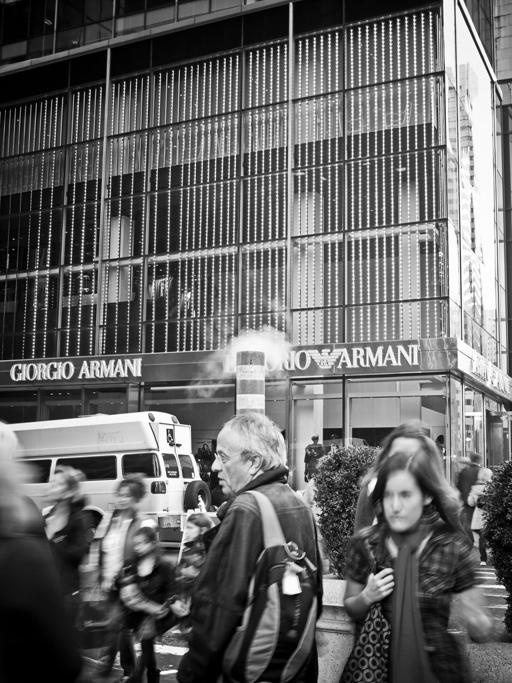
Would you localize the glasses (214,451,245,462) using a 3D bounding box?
[{"bbox_3d":[-0.085,0.420,3.248,0.054,0.028,0.074,0,-1,41],"label":"glasses"}]

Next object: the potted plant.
[{"bbox_3d":[0.792,1.357,7.667,0.681,1.351,0.826,-1,29,10],"label":"potted plant"}]

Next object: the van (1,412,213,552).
[{"bbox_3d":[-3.134,2.513,17.593,4.247,2.778,2.926,-5,-8,21],"label":"van"}]
